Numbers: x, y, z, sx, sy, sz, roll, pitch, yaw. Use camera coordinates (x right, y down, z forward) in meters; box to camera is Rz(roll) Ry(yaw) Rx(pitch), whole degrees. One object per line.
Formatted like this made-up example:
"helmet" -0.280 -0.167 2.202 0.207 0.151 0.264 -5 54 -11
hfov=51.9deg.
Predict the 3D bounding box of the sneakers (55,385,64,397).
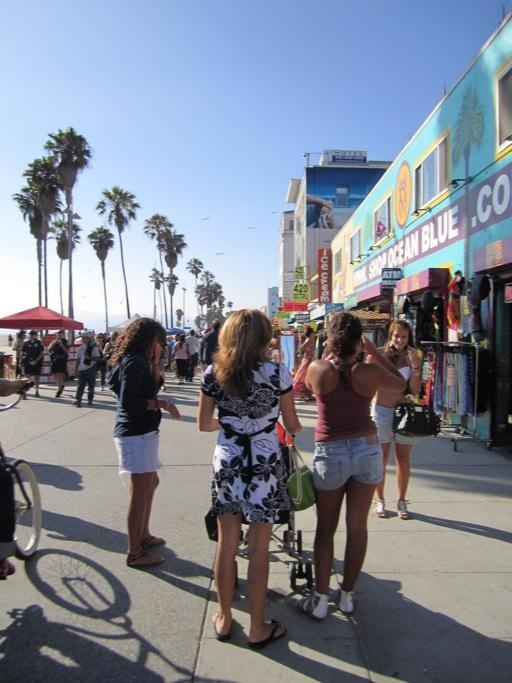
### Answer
"sneakers" -5.219 1.354 13.966 0.167 0.202 0.472 1 25 -7

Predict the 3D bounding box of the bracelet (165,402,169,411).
"bracelet" -0.589 0.432 3.475 0.032 0.048 0.047 -4 -12 13

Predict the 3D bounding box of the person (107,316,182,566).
"person" -0.786 0.667 3.623 0.431 1.636 0.607 0 0 -16

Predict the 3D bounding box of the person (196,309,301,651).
"person" -0.051 0.671 2.629 0.498 1.644 0.286 0 0 2

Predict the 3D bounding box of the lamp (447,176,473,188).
"lamp" 3.429 -2.672 8.804 0.125 0.131 0.268 -16 21 -41

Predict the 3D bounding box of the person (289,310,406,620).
"person" 0.495 0.681 2.885 0.507 1.673 0.207 0 0 5

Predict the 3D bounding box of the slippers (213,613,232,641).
"slippers" -0.168 1.442 2.650 0.080 0.058 0.209 2 20 -6

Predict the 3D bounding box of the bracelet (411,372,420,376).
"bracelet" 1.381 0.266 4.543 0.089 0.053 0.045 0 0 -31

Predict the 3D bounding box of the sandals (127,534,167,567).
"sandals" -0.748 1.459 3.666 0.091 0.127 0.289 7 6 24

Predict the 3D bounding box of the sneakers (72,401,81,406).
"sneakers" -4.016 1.363 11.750 0.097 0.147 0.146 -21 -4 39
